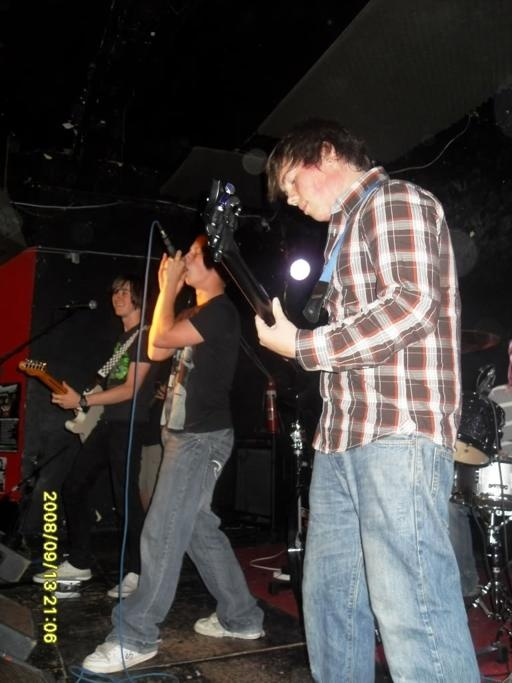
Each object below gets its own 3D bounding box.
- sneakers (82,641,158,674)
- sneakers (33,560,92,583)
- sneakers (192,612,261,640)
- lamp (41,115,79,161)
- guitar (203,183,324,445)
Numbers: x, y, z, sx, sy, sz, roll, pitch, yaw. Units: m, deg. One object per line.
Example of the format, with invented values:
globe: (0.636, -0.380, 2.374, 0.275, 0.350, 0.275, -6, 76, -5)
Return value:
sneakers: (-0.474, 1.109, 1.931, 0.238, 0.085, 0.084, 11, -21, -20)
sneakers: (-1.062, 1.298, 3.116, 0.343, 0.124, 0.121, 9, -22, -13)
sneakers: (-0.117, 1.174, 2.317, 0.264, 0.099, 0.103, 2, -12, 24)
lamp: (-1.303, -1.350, 3.681, 0.208, 0.074, 0.491, 8, -13, -25)
guitar: (-0.019, -0.102, 1.495, 0.092, 0.623, 0.206, -15, 24, 36)
